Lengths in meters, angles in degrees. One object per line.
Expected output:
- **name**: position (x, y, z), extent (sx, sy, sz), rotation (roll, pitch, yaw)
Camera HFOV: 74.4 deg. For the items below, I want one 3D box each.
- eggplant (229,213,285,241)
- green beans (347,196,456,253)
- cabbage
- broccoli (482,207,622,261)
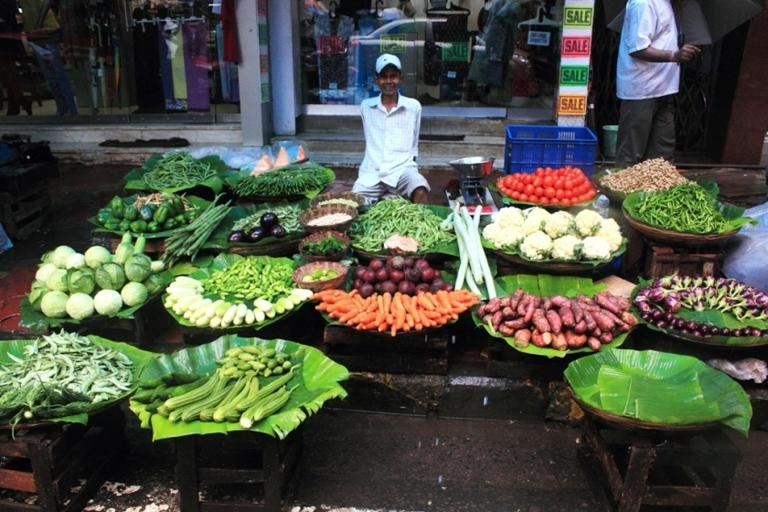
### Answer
- **eggplant**: position (-1.171, -0.229, 4.687), extent (0.526, 0.170, 0.242), rotation (-16, 49, -5)
- **green beans**: position (0.160, -0.286, 4.834), extent (1.012, 0.373, 0.730), rotation (-1, 21, 3)
- **cabbage**: position (-2.483, 0.218, 4.496), extent (0.952, 0.666, 0.572), rotation (1, -2, -6)
- **broccoli**: position (1.481, -0.192, 4.519), extent (1.194, 0.353, 0.667), rotation (7, 23, 23)
